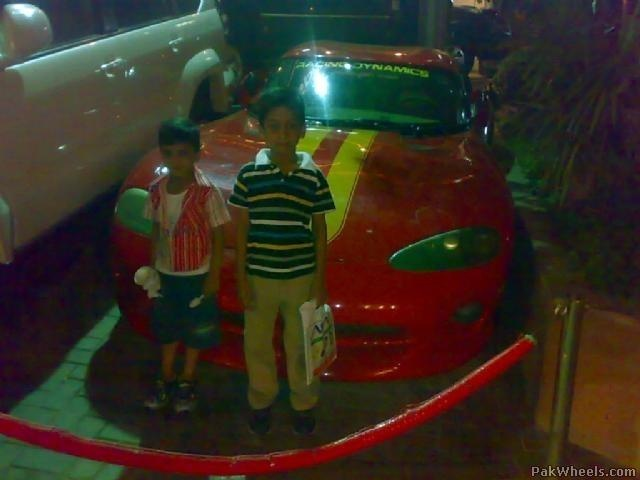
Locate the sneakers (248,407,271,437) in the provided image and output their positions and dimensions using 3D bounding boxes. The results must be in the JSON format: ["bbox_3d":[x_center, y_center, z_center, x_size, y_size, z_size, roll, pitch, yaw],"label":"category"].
[{"bbox_3d":[-0.314,0.947,2.580,0.095,0.156,0.157,4,5,-7],"label":"sneakers"}]

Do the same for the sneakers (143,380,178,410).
[{"bbox_3d":[-0.915,0.861,2.778,0.110,0.101,0.223,18,6,-5],"label":"sneakers"}]

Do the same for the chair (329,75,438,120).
[{"bbox_3d":[0.552,-1.199,4.140,0.759,0.197,0.441,3,50,5],"label":"chair"}]

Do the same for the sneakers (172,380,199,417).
[{"bbox_3d":[-0.768,0.876,2.795,0.124,0.150,0.336,5,0,-13],"label":"sneakers"}]

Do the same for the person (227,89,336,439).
[{"bbox_3d":[-0.191,0.162,2.451,0.529,1.667,0.647,-1,31,1],"label":"person"}]

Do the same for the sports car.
[{"bbox_3d":[0.510,-0.347,3.852,1.645,1.052,3.220,5,34,6],"label":"sports car"}]
